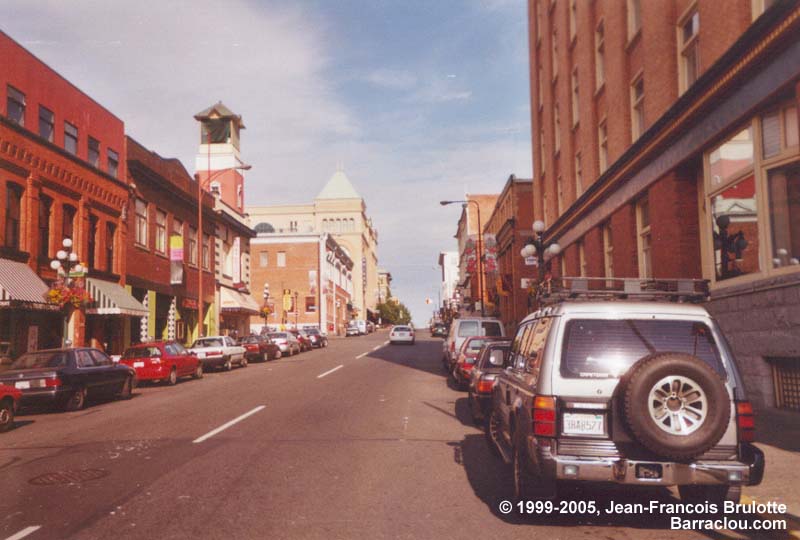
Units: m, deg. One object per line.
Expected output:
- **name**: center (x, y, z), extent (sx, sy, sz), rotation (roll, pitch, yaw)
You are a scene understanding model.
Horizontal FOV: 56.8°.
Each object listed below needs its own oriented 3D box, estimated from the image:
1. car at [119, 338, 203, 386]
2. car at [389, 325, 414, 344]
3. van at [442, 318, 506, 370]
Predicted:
- **car**: center (-8.688, 3.447, 27.532), extent (1.213, 1.004, 2.697), rotation (-1, -2, 4)
- **car**: center (0.180, 4.921, 55.236), extent (1.526, 1.531, 2.003), rotation (-4, -10, 9)
- **van**: center (2.927, 2.219, 27.778), extent (1.945, 1.802, 3.812), rotation (-2, 11, 6)
